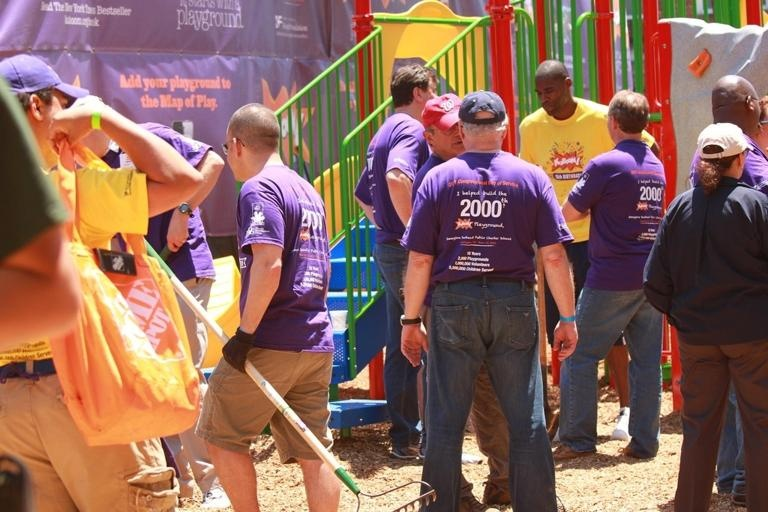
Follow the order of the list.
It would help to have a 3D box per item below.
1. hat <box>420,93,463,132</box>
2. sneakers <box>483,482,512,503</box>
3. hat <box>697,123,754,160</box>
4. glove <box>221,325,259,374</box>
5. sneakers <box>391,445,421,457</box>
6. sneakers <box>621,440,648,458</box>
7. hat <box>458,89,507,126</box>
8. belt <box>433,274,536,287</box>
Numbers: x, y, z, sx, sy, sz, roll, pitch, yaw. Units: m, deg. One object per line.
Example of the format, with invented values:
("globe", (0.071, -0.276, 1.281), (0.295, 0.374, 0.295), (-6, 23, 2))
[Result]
("hat", (0.389, -0.958, 6.642), (0.184, 0.147, 0.250), (-21, 6, -26))
("sneakers", (0.736, 1.533, 6.515), (0.163, 0.188, 0.132), (-1, 1, -40))
("hat", (1.929, -0.659, 5.757), (0.183, 0.171, 0.263), (7, 19, 40))
("glove", (-0.792, 0.515, 5.608), (0.213, 0.194, 0.173), (-40, -6, 14))
("sneakers", (0.170, 1.478, 7.565), (0.225, 0.127, 0.092), (-2, -1, 3))
("sneakers", (1.820, 1.403, 7.251), (0.125, 0.058, 0.097), (17, 2, 28))
("hat", (0.605, -0.893, 6.086), (0.362, 0.260, 0.603), (0, 11, 6))
("belt", (0.598, 0.143, 5.827), (0.560, 0.088, 0.120), (-3, 10, 5))
